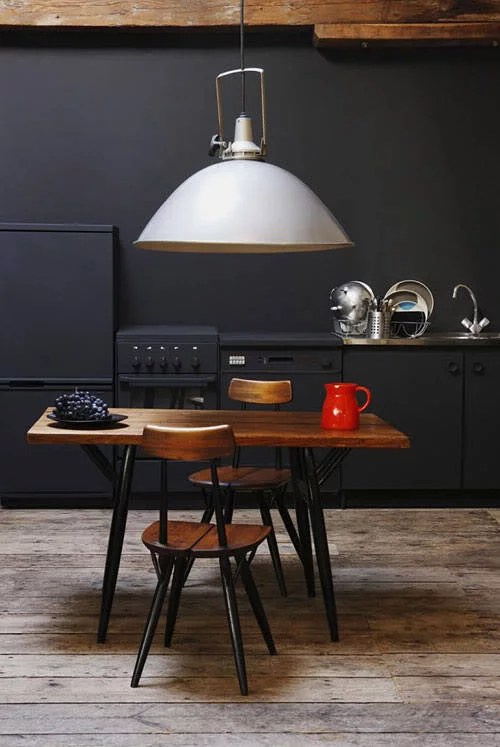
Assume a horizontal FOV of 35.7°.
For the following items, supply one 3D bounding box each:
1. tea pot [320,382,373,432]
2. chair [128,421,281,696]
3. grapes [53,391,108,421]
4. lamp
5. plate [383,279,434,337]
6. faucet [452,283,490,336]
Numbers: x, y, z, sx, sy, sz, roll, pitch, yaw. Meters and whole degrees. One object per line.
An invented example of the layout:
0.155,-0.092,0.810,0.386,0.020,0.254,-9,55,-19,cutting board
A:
0.340,0.114,2.695,0.172,0.159,0.171,1,5,0,tea pot
-0.136,0.521,2.555,0.453,0.792,0.686,0,5,-2,chair
-0.585,0.116,2.667,0.159,0.080,0.210,-3,6,-34,grapes
-0.039,-0.827,2.452,0.646,0.877,0.655,0,6,-8,lamp
0.983,-0.405,4.812,0.298,0.347,0.407,2,5,12,plate
1.387,-0.409,4.882,0.236,0.314,0.262,2,6,16,faucet
